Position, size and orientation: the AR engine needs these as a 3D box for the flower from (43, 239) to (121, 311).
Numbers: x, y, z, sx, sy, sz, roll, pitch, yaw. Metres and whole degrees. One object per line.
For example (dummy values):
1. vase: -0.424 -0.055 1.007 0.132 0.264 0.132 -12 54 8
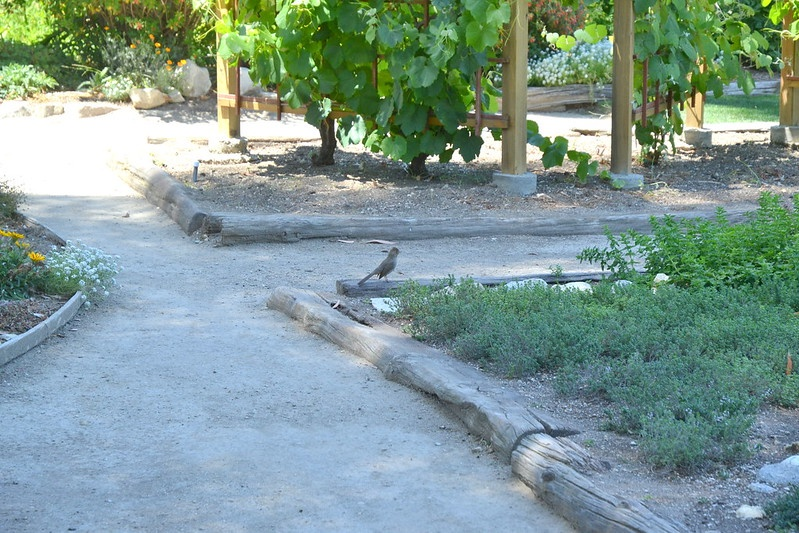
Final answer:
1. flower: -2.801 0.027 7.789 0.582 0.425 0.610 40 31 30

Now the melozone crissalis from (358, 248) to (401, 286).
1. melozone crissalis: -0.191 0.004 7.858 0.471 0.297 0.125 -13 15 -39

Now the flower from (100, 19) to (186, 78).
1. flower: -5.134 -4.137 16.738 1.376 0.817 1.434 24 25 34

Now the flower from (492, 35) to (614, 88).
1. flower: 3.734 -4.492 19.481 3.370 1.069 2.231 -2 16 2
